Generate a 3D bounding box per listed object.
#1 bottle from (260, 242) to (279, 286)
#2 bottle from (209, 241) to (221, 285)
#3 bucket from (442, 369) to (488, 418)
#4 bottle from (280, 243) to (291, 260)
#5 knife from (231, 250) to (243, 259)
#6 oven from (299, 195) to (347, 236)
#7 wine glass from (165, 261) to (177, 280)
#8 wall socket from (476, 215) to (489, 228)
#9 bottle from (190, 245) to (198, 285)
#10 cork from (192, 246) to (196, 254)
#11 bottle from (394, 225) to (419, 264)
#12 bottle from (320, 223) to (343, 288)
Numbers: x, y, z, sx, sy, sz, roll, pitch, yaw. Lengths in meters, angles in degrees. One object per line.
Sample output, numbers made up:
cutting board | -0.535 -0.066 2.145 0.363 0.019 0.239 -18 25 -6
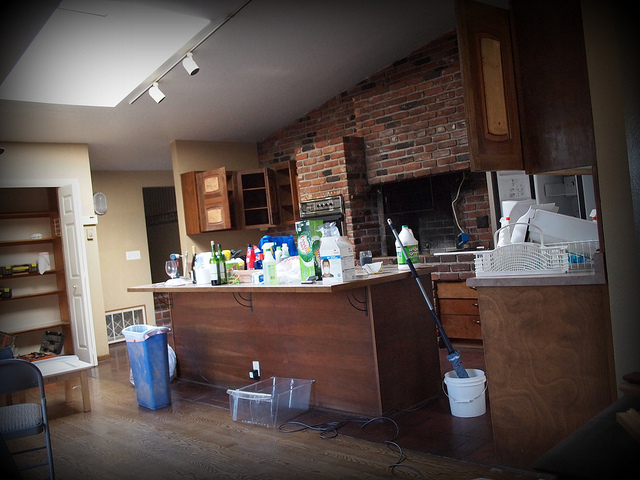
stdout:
bottle | -0.447 0.202 3.823 0.124 0.356 0.299 -6 1 -8
bottle | -1.038 0.223 4.317 0.098 0.417 0.246 -7 1 -15
bucket | 1.059 1.137 3.373 0.367 0.286 0.357 11 -10 2
bottle | -0.314 0.099 3.930 0.078 0.137 0.244 -6 1 5
knife | -0.904 0.152 4.839 0.056 0.069 0.236 -3 -9 -26
oven | 0.003 -0.403 6.127 0.754 0.696 0.498 -4 -5 40
wine glass | -1.510 0.291 4.511 0.100 0.183 0.143 -7 1 -15
wall socket | 1.889 -0.217 5.214 0.138 0.127 0.033 -3 -1 38
bottle | -1.320 0.260 4.600 0.093 0.408 0.420 -7 1 -17
cork | -1.328 0.114 4.645 0.013 0.075 0.057 -6 1 -3
bottle | 0.700 0.038 3.634 0.171 0.289 0.348 -6 1 10
bottle | 0.063 0.085 3.320 0.175 0.493 0.162 -1 25 1
